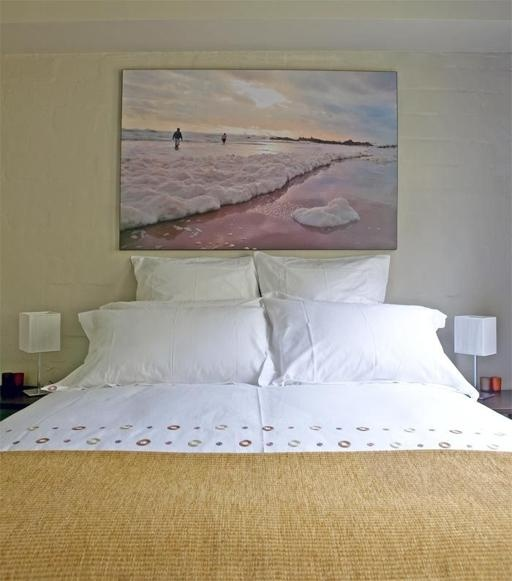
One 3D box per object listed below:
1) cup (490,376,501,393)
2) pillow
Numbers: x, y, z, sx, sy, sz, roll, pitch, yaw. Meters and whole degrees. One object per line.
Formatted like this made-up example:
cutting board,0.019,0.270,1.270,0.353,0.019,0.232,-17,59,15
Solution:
cup,1.036,0.406,2.172,0.050,0.060,0.063,4,1,25
pillow,0.029,0.104,2.028,1.482,0.476,0.578,0,6,1
